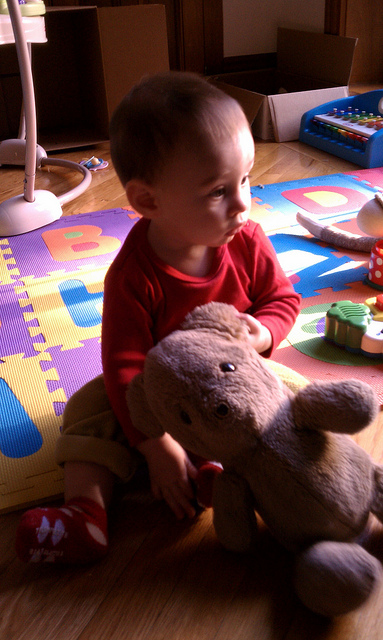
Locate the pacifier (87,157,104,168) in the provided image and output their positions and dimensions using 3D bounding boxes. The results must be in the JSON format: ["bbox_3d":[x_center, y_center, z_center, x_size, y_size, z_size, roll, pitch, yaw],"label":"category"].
[{"bbox_3d":[-0.395,-0.654,1.901,0.058,0.023,0.060,-17,23,-9],"label":"pacifier"}]

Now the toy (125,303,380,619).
[{"bbox_3d":[0.042,0.138,0.413,0.230,0.139,0.113,50,5,15],"label":"toy"}]

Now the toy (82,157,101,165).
[{"bbox_3d":[-0.415,-0.666,1.910,0.057,0.016,0.064,7,12,26],"label":"toy"}]
